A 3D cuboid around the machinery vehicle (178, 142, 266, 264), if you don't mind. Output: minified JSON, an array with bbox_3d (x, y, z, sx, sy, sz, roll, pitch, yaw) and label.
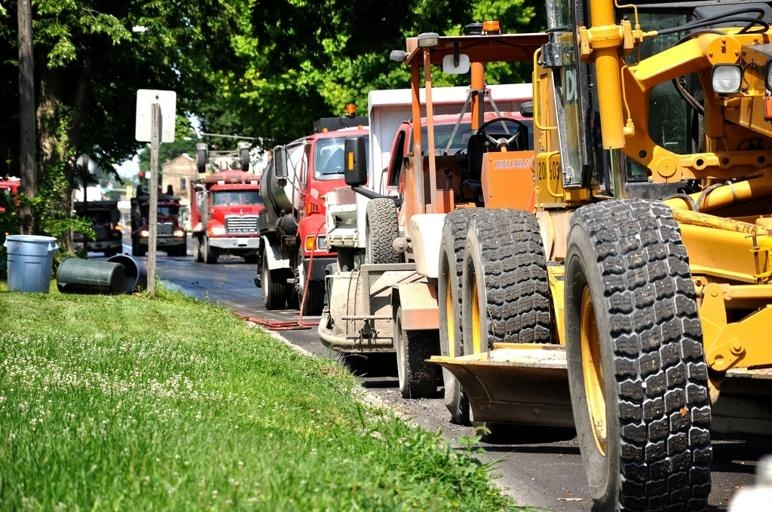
[{"bbox_3d":[-6.101,-1.620,37.882,2.353,4.263,7.295,0,-1,-11],"label":"machinery vehicle"}]

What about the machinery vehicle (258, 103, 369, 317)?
[{"bbox_3d":[-1.229,-0.718,19.439,1.637,2.769,4.331,0,-2,-10],"label":"machinery vehicle"}]

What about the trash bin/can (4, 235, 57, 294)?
[{"bbox_3d":[-5.720,0.172,16.375,0.902,1.041,0.769,2,-5,-10],"label":"trash bin/can"}]

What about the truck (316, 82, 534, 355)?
[{"bbox_3d":[0.239,-0.459,12.847,2.258,2.735,4.170,0,-4,-9],"label":"truck"}]

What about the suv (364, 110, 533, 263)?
[{"bbox_3d":[0.516,-0.899,13.095,1.502,1.524,2.250,0,4,-9],"label":"suv"}]

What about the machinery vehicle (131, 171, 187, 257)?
[{"bbox_3d":[-11.450,-1.593,49.509,2.161,3.784,6.991,0,-1,-20],"label":"machinery vehicle"}]

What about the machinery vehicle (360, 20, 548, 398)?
[{"bbox_3d":[0.989,-0.327,9.934,1.957,2.634,4.092,0,5,-7],"label":"machinery vehicle"}]
